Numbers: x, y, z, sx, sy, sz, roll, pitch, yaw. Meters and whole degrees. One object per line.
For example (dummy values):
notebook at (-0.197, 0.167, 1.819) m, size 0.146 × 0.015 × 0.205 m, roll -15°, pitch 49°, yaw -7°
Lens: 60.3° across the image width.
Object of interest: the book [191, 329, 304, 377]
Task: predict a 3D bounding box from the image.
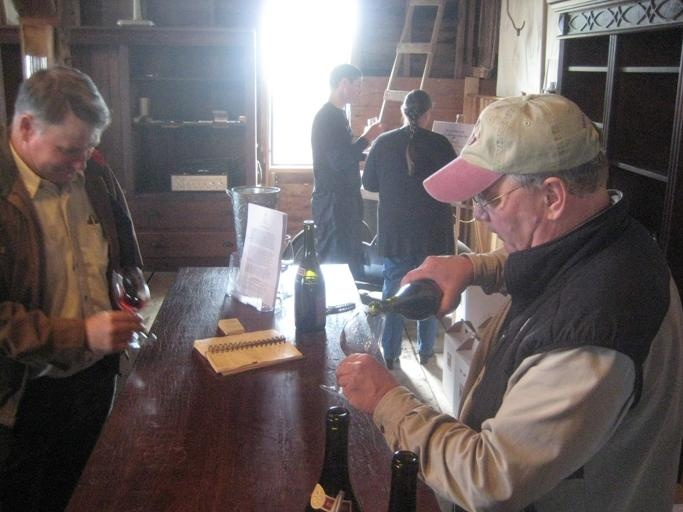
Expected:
book at (-0.323, 0.333, 2.039) m, size 0.186 × 0.052 × 0.196 m, roll -4°, pitch 20°, yaw -25°

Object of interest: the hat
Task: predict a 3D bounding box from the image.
hat at (0.441, -0.237, 1.527) m, size 0.387 × 0.207 × 0.250 m, roll -6°, pitch 29°, yaw 20°

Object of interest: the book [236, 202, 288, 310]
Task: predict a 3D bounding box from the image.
book at (-0.342, 0.015, 2.511) m, size 0.048 × 0.473 × 0.363 m, roll 8°, pitch 9°, yaw -40°

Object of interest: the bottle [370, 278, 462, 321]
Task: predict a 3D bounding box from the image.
bottle at (0.292, 0.168, 2.271) m, size 0.358 × 0.158 × 0.156 m, roll -3°, pitch 16°, yaw -35°
